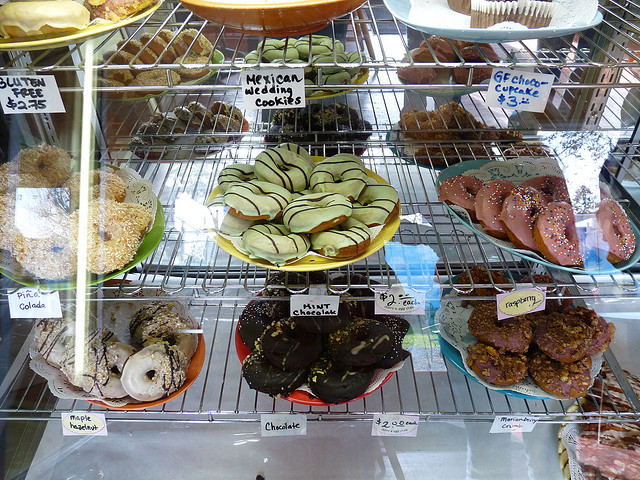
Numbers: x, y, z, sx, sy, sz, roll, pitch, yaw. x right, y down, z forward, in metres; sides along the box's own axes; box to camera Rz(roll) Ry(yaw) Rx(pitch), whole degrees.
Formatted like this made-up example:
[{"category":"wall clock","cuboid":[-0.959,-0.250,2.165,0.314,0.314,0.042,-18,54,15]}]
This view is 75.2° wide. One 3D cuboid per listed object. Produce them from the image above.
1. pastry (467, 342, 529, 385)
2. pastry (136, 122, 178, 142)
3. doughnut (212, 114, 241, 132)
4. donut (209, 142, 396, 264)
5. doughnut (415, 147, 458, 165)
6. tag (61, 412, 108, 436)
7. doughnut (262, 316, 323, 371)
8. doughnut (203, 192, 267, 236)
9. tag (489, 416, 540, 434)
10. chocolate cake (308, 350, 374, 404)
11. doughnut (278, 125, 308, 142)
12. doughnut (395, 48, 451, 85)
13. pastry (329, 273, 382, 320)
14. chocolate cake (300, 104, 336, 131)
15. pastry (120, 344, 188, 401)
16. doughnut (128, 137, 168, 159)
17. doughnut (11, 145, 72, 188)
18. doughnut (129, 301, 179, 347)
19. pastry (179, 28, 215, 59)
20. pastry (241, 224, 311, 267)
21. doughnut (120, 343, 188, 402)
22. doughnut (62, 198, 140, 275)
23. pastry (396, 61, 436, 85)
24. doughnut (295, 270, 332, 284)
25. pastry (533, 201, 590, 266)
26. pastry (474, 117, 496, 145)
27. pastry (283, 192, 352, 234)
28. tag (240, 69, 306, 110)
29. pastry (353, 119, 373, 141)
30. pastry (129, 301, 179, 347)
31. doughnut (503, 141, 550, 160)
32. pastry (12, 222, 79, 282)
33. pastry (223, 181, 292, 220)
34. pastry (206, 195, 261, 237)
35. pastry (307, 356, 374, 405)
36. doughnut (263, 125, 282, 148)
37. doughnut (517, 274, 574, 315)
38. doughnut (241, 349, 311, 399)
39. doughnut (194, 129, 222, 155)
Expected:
[{"category":"pastry","cuboid":[0.527,0.356,1.196,0.147,0.051,0.157,-28,16,-18]},{"category":"pastry","cuboid":[-0.563,-0.391,1.443,0.079,0.033,0.103,-19,40,-38]},{"category":"doughnut","cuboid":[-0.328,-0.413,1.478,0.083,0.021,0.070,17,-6,41]},{"category":"donut","cuboid":[-0.040,-0.089,1.032,0.366,0.105,0.348,15,40,9]},{"category":"doughnut","cuboid":[0.400,-0.293,1.440,0.140,0.045,0.079,-1,30,1]},{"category":"tag","cuboid":[-0.663,0.516,1.173,0.125,0.067,0.003,4,33,-3]},{"category":"doughnut","cuboid":[-0.069,0.281,1.202,0.194,0.069,0.183,-6,51,-14]},{"category":"doughnut","cuboid":[-0.216,-0.060,1.035,0.119,0.039,0.128,12,23,32]},{"category":"tag","cuboid":[0.572,0.541,1.223,0.186,0.100,0.003,-2,47,-2]},{"category":"chocolate cake","cuboid":[0.057,0.389,1.181,0.188,0.062,0.187,-11,20,-13]},{"category":"doughnut","cuboid":[-0.094,-0.366,1.441,0.102,0.045,0.093,-3,30,-2]},{"category":"doughnut","cuboid":[0.299,-0.493,1.213,0.168,0.051,0.168,17,49,12]},{"category":"pastry","cuboid":[0.116,0.166,1.281,0.143,0.044,0.128,4,57,-5]},{"category":"chocolate cake","cuboid":[0.007,-0.427,1.495,0.133,0.042,0.123,-15,60,-8]},{"category":"pastry","cuboid":[-0.454,0.367,1.127,0.166,0.059,0.151,9,42,-9]},{"category":"doughnut","cuboid":[-0.588,-0.315,1.427,0.129,0.059,0.085,-7,31,-9]},{"category":"doughnut","cuboid":[-0.758,-0.214,1.155,0.144,0.046,0.139,2,-1,-12]},{"category":"doughnut","cuboid":[-0.491,0.239,1.283,0.149,0.048,0.170,-15,40,-32]},{"category":"pastry","cuboid":[-0.401,-0.666,1.382,0.077,0.023,0.074,28,30,-58]},{"category":"pastry","cuboid":[-0.102,0.007,0.950,0.120,0.040,0.111,3,30,-5]},{"category":"doughnut","cuboid":[-0.449,0.360,1.132,0.173,0.058,0.154,8,58,-1]},{"category":"doughnut","cuboid":[-0.525,-0.014,1.007,0.166,0.062,0.174,2,55,-13]},{"category":"pastry","cuboid":[0.281,-0.482,1.206,0.113,0.064,0.138,4,30,9]},{"category":"doughnut","cuboid":[-0.004,0.123,1.319,0.069,0.018,0.051,6,19,-34]},{"category":"pastry","cuboid":[0.594,-0.017,1.025,0.128,0.103,0.148,4,31,9]},{"category":"pastry","cuboid":[0.588,-0.385,1.483,0.072,0.063,0.105,7,31,14]},{"category":"pastry","cuboid":[-0.009,-0.062,1.041,0.155,0.057,0.182,-1,22,30]},{"category":"tag","cuboid":[-0.107,-0.343,0.938,0.138,0.082,0.003,-1,44,-2]},{"category":"pastry","cuboid":[0.156,-0.392,1.478,0.089,0.027,0.079,-2,76,-6]},{"category":"pastry","cuboid":[-0.524,0.242,1.283,0.181,0.052,0.180,-6,30,-32]},{"category":"doughnut","cuboid":[0.702,-0.307,1.410,0.139,0.041,0.094,13,33,24]},{"category":"pastry","cuboid":[-0.638,0.022,0.974,0.146,0.034,0.134,16,67,-10]},{"category":"pastry","cuboid":[-0.145,-0.088,1.068,0.154,0.050,0.150,-9,17,-29]},{"category":"pastry","cuboid":[-0.221,-0.052,1.022,0.109,0.031,0.106,36,42,26]},{"category":"pastry","cuboid":[0.057,0.370,1.184,0.189,0.064,0.197,-5,38,-4]},{"category":"doughnut","cuboid":[-0.165,-0.366,1.455,0.085,0.027,0.076,2,76,13]},{"category":"doughnut","cuboid":[0.728,0.183,1.325,0.153,0.049,0.143,14,75,-5]},{"category":"doughnut","cuboid":[-0.129,0.378,1.162,0.191,0.078,0.090,9,32,18]},{"category":"doughnut","cuboid":[-0.393,-0.340,1.452,0.095,0.071,0.078,-9,31,-11]}]
